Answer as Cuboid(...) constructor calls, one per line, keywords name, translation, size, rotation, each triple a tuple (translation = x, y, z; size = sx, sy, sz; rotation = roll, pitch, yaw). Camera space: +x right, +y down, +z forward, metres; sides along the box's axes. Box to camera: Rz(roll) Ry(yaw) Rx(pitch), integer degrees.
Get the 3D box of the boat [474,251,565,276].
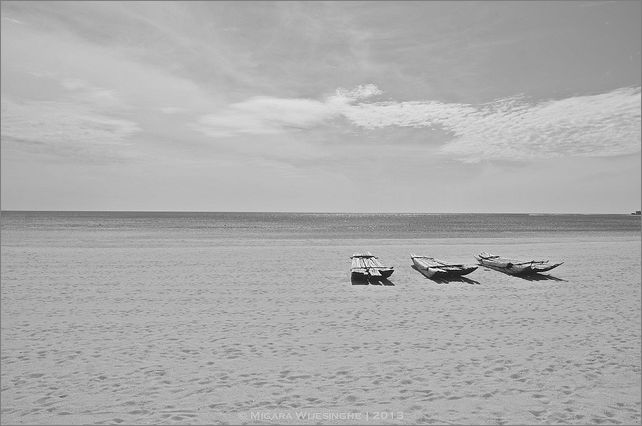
Cuboid(name="boat", translation=(11.911, 3.176, 31.118), size=(3.097, 1.449, 4.696), rotation=(0, 13, -7))
